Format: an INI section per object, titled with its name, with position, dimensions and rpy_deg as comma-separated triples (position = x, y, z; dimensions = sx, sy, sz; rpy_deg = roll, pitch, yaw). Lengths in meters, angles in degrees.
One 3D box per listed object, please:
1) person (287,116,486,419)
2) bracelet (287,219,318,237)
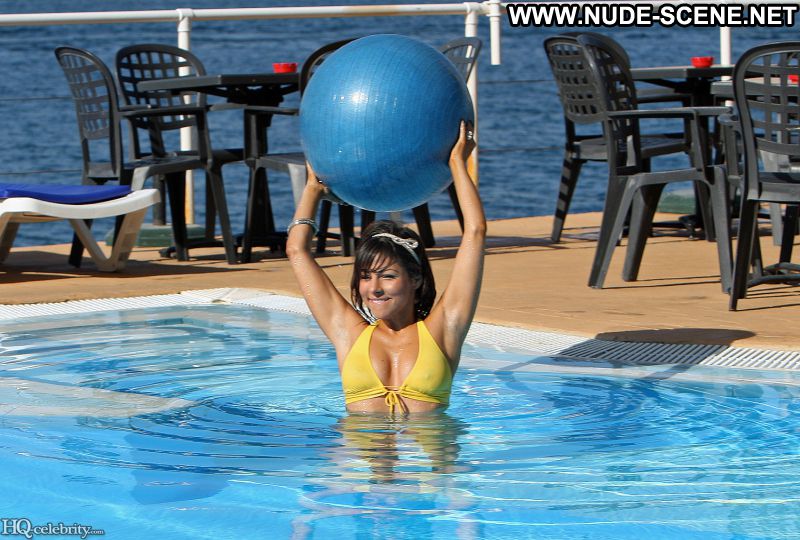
[person]
position = -0.034, -0.002, 3.737
dimensions = 0.659, 0.939, 0.447
rpy_deg = -5, 18, -4
[bracelet]
position = -0.337, -0.149, 3.843
dimensions = 0.102, 0.076, 0.048
rpy_deg = 0, 51, -5
